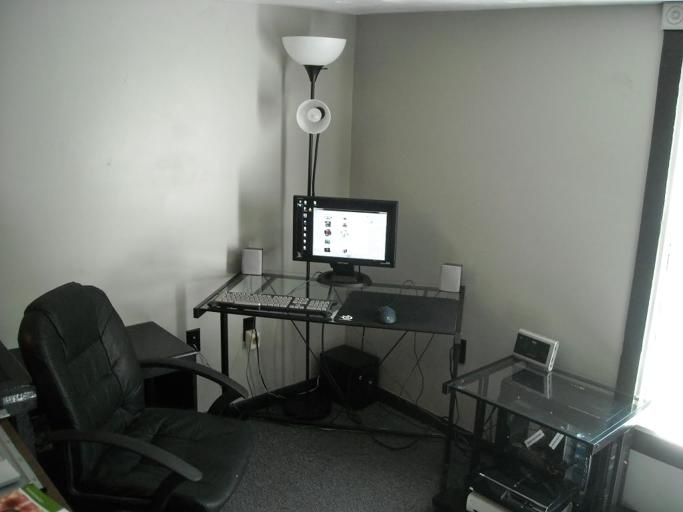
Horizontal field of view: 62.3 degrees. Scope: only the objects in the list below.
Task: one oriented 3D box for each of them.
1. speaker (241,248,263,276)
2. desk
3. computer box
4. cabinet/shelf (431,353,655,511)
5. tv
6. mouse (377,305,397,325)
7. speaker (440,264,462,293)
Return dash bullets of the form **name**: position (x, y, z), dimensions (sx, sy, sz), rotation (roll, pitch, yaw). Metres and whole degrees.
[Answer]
- **speaker**: position (-0.560, 0.024, 3.673), dimensions (0.143, 0.225, 0.151), rotation (1, 13, -1)
- **desk**: position (0.017, 0.877, 3.506), dimensions (1.362, 1.116, 0.753), rotation (6, 25, 15)
- **computer box**: position (0.056, 0.861, 4.015), dimensions (0.275, 0.371, 0.357), rotation (-12, 21, -42)
- **cabinet/shelf**: position (1.057, 0.725, 2.962), dimensions (0.773, 0.808, 0.786), rotation (19, 24, 37)
- **tv**: position (0.022, -0.115, 3.552), dimensions (0.642, 0.576, 0.276), rotation (4, 29, 5)
- **mouse**: position (0.259, 0.316, 3.105), dimensions (0.122, 0.079, 0.113), rotation (-4, 13, -10)
- **speaker**: position (0.673, 0.126, 3.528), dimensions (0.142, 0.211, 0.145), rotation (6, 8, 16)
